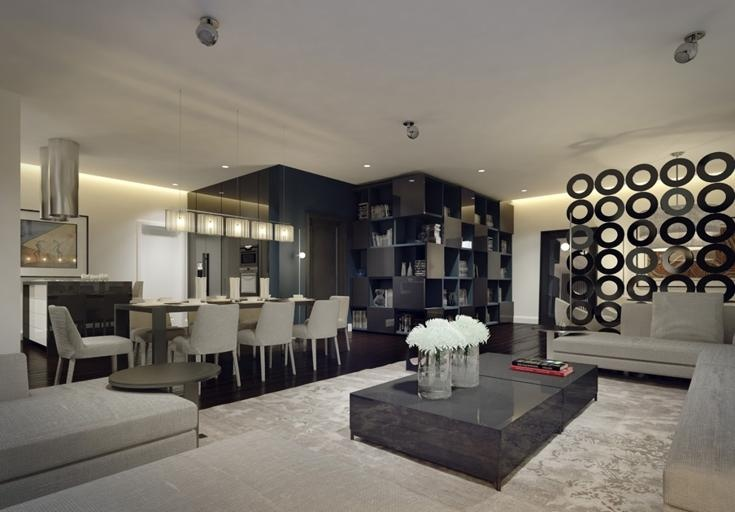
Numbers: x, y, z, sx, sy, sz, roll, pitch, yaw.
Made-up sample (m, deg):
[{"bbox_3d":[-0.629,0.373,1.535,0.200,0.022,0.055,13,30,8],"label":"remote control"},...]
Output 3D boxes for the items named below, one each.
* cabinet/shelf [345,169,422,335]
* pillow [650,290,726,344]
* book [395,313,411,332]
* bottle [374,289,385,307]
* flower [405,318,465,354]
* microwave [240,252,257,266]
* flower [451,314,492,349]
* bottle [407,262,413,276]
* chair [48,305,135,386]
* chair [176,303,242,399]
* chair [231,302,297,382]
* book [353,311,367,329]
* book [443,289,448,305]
[{"bbox_3d":[0.495,-0.033,9.575,1.731,2.917,0.802,3,4,36],"label":"cabinet/shelf"},{"bbox_3d":[3.740,0.736,5.984,0.530,0.428,0.194,-3,-30,36],"label":"pillow"},{"bbox_3d":[0.642,1.206,9.290,0.290,0.419,0.307,2,1,-32],"label":"book"},{"bbox_3d":[0.214,0.781,9.571,0.270,0.362,0.269,2,-9,0],"label":"bottle"},{"bbox_3d":[0.552,0.652,4.204,0.328,0.163,0.324,-1,-1,-16],"label":"flower"},{"bbox_3d":[-2.121,0.059,9.093,0.398,0.261,0.217,-2,-5,42],"label":"microwave"},{"bbox_3d":[0.868,0.633,4.372,0.256,0.140,0.301,1,3,-34],"label":"flower"},{"bbox_3d":[0.753,0.228,9.357,0.090,0.226,0.299,1,3,3],"label":"bottle"},{"bbox_3d":[-2.994,0.956,5.586,0.719,0.823,0.573,0,1,-44],"label":"chair"},{"bbox_3d":[-1.831,0.951,5.800,0.660,1.027,0.689,-1,13,-37],"label":"chair"},{"bbox_3d":[-1.238,0.993,6.254,0.591,0.878,0.604,1,-2,-44],"label":"chair"},{"bbox_3d":[-0.182,1.203,9.818,0.295,0.402,0.404,0,-4,-4],"label":"book"},{"bbox_3d":[1.448,0.781,9.661,0.105,0.301,0.322,0,-1,17],"label":"book"}]
